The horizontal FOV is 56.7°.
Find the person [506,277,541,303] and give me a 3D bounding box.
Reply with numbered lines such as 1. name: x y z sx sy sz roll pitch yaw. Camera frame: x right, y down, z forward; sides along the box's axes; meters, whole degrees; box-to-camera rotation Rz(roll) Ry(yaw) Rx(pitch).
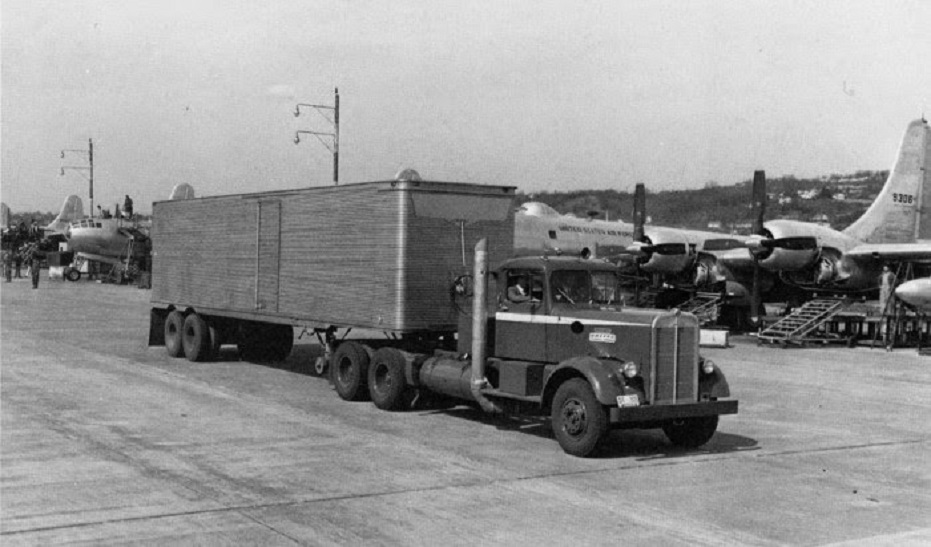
1. person: 1.309 0.338 19.112 0.914 0.604 0.152 10 13 43

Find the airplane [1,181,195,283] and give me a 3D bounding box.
1. airplane: -27.034 -2.050 62.471 10.442 3.939 6.962 4 0 33

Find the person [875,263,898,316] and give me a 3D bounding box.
1. person: 17.020 0.742 34.760 0.471 1.635 0.978 6 10 25
